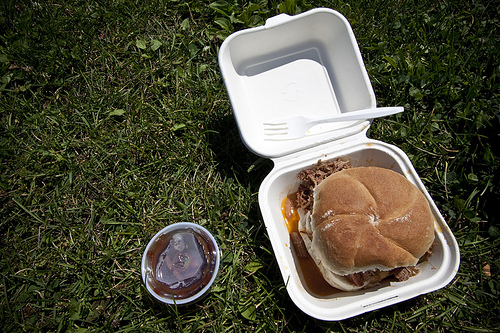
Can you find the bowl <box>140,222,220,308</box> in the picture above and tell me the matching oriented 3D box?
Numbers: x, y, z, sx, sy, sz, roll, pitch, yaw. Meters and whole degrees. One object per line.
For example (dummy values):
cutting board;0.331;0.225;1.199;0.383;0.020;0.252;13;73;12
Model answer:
bowl;-0.579;0.849;3.769;0.613;0.442;0.698;32;84;16
